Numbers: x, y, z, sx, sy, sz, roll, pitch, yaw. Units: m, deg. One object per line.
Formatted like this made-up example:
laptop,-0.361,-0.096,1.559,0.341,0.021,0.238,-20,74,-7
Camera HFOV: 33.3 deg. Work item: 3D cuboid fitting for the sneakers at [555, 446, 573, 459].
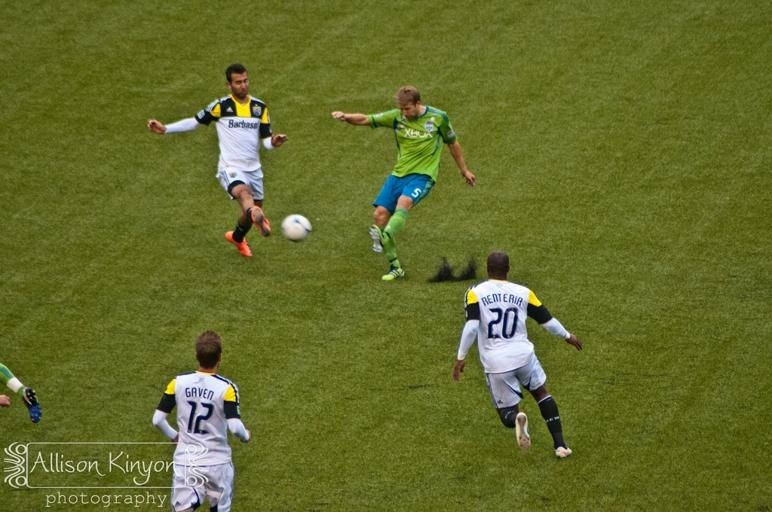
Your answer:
sneakers,2.453,2.703,17.870,0.250,0.163,0.133,-15,28,-25

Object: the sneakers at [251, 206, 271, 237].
sneakers,-1.927,-0.539,20.029,0.164,0.467,0.221,-32,17,-5

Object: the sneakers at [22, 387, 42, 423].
sneakers,-4.821,2.009,17.655,0.210,0.548,0.243,-21,13,-29

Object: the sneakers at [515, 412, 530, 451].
sneakers,1.846,2.369,17.502,0.194,0.516,0.235,-3,-10,2

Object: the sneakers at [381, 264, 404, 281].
sneakers,0.075,0.259,20.307,0.145,0.186,0.435,6,11,43

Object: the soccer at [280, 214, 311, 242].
soccer,-1.366,-0.483,19.813,0.436,0.410,0.403,5,10,-4

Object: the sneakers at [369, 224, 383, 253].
sneakers,-0.148,-0.283,19.670,0.185,0.416,0.209,7,21,28
